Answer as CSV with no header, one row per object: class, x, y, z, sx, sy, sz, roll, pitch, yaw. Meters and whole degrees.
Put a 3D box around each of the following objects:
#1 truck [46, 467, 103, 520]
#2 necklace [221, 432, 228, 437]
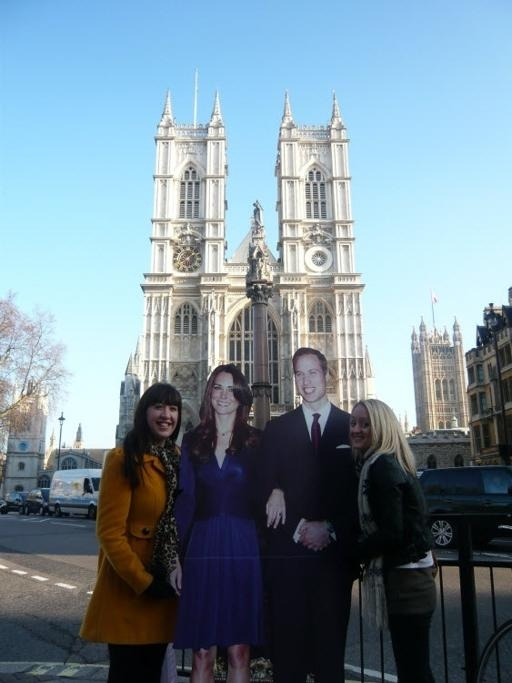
truck,-7.943,7.050,24.966,4.224,2.121,1.626,-14,-21,37
necklace,-0.168,0.511,2.919,0.024,0.026,0.030,-3,0,-3
